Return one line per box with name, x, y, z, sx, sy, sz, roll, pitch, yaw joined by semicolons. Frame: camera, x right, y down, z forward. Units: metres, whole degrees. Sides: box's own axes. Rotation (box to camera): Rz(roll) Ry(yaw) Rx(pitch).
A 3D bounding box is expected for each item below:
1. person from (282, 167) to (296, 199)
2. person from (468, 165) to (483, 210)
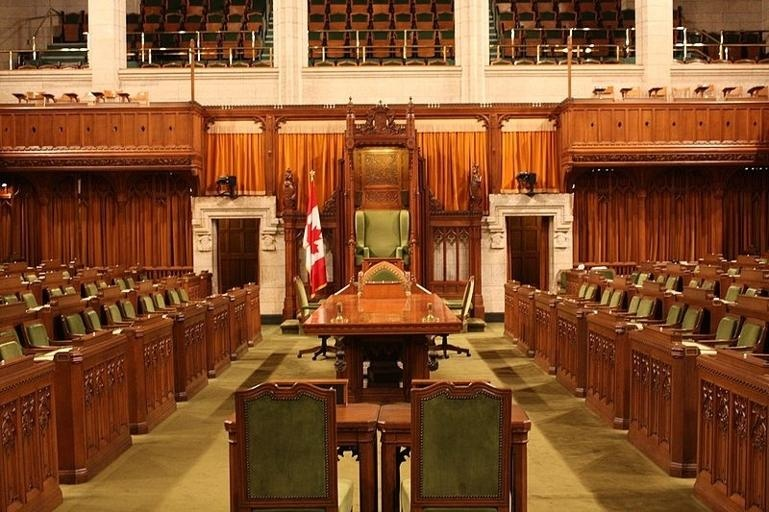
person;-2.282;-1.780;20.829;0.334;0.696;0.791;-2;7;-7
person;2.226;-1.679;20.829;0.350;1.073;0.784;-1;7;6
